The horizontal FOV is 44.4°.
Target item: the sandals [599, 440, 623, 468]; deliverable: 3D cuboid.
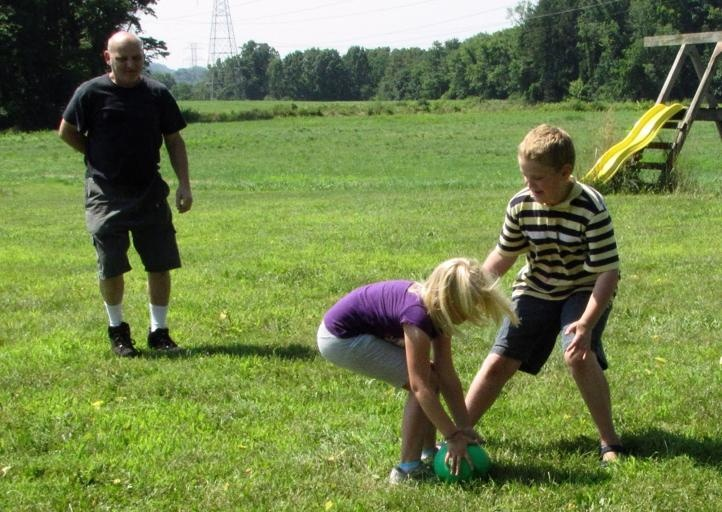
[{"bbox_3d":[2.441,1.902,8.547,0.239,0.183,0.205,3,18,13],"label":"sandals"}]
